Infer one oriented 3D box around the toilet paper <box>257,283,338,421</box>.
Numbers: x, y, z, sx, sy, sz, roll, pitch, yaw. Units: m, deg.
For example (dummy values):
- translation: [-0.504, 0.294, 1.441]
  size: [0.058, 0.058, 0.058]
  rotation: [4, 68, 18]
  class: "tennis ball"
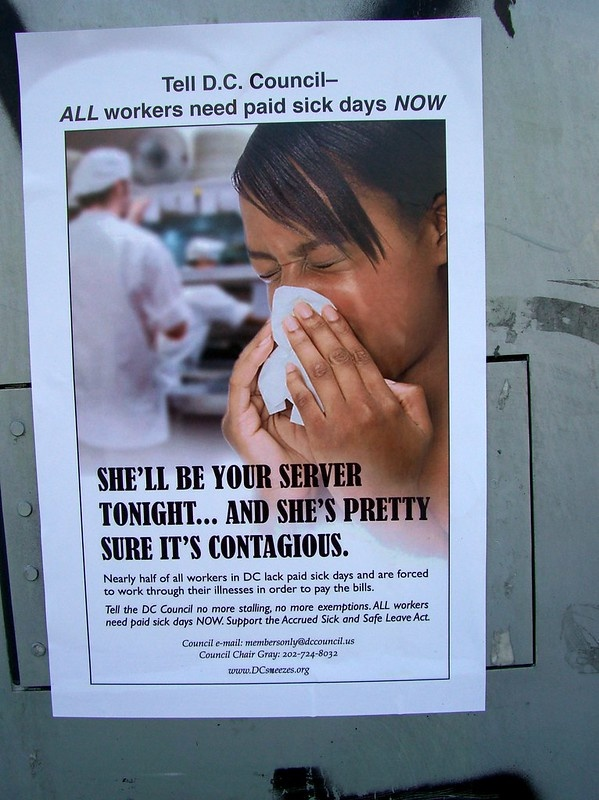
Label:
- translation: [-0.027, -0.100, 1.754]
  size: [0.184, 0.071, 0.257]
  rotation: [-8, 100, 4]
  class: "toilet paper"
